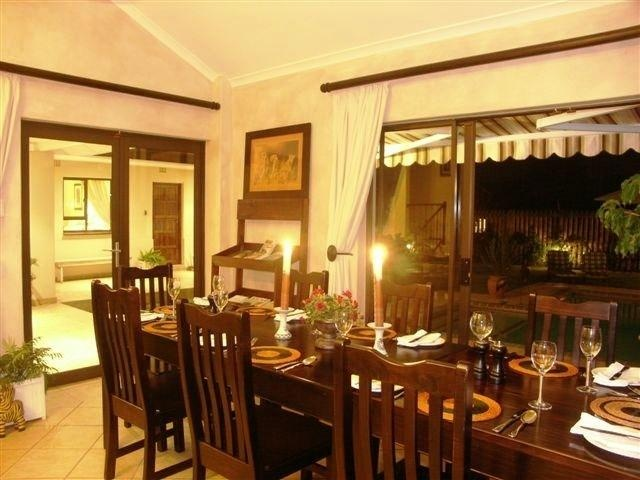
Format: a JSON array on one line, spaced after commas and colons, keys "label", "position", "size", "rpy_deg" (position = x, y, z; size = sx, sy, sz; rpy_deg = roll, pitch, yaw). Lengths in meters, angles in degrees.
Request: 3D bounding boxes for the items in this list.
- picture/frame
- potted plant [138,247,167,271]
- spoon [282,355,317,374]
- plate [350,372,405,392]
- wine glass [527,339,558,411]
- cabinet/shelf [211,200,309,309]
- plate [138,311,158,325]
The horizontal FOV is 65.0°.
[{"label": "picture/frame", "position": [-0.468, -0.805, 5.289], "size": [0.831, 0.712, 0.035], "rpy_deg": [1, 0, 31]}, {"label": "potted plant", "position": [-1.719, 0.202, 5.256], "size": [0.341, 0.256, 0.325], "rpy_deg": [-2, 5, -45]}, {"label": "spoon", "position": [-0.095, 0.642, 2.687], "size": [0.059, 0.051, 0.297], "rpy_deg": [7, 9, 40]}, {"label": "plate", "position": [0.255, 0.690, 2.395], "size": [0.172, 0.024, 0.166], "rpy_deg": [-3, 5, -31]}, {"label": "wine glass", "position": [1.068, 0.624, 2.411], "size": [0.111, 0.309, 0.360], "rpy_deg": [-1, -2, 25]}, {"label": "cabinet/shelf", "position": [-0.630, 0.215, 5.180], "size": [0.921, 1.299, 0.577], "rpy_deg": [3, 6, 30]}, {"label": "plate", "position": [-1.212, 0.545, 3.550], "size": [0.143, 0.054, 0.145], "rpy_deg": [4, -1, 4]}]
